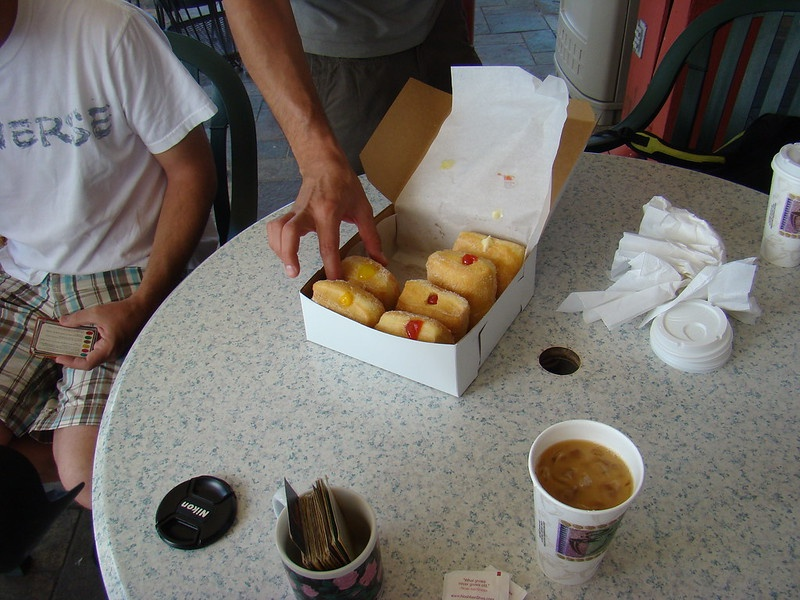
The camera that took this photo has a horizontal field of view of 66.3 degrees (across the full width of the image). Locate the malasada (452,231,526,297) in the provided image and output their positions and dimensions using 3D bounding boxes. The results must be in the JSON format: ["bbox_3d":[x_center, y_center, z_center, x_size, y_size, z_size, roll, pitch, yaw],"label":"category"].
[{"bbox_3d":[0.173,-0.083,1.176,0.131,0.108,0.134,9,30,17],"label":"malasada"}]

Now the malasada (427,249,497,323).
[{"bbox_3d":[0.109,-0.027,1.112,0.121,0.130,0.076,13,39,19],"label":"malasada"}]
